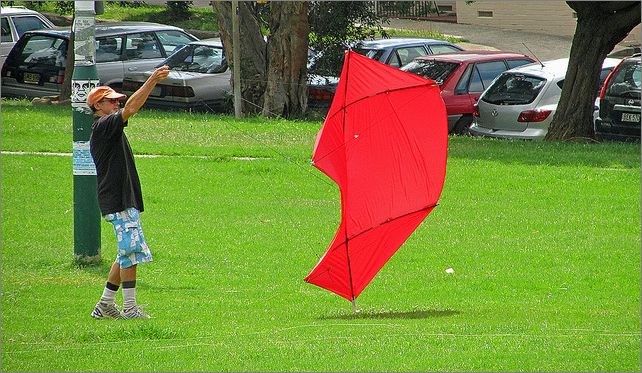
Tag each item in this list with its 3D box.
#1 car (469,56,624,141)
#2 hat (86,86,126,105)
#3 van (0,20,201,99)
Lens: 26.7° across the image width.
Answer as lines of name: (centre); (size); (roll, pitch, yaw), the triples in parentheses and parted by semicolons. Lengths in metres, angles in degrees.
car: (5.382, -2.206, 36.710); (3.765, 1.641, 2.088); (-13, 15, -31)
hat: (-4.621, -1.929, 29.020); (0.692, 0.245, 0.418); (-9, 3, -11)
van: (-6.234, -3.879, 39.197); (4.412, 1.673, 2.483); (-14, 14, -37)
